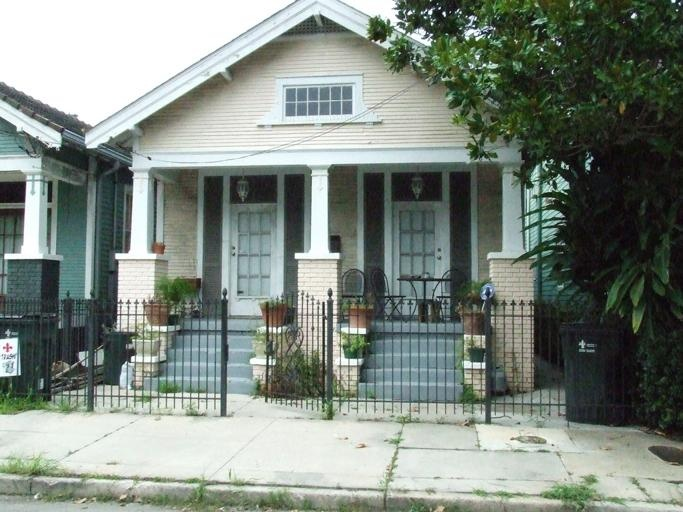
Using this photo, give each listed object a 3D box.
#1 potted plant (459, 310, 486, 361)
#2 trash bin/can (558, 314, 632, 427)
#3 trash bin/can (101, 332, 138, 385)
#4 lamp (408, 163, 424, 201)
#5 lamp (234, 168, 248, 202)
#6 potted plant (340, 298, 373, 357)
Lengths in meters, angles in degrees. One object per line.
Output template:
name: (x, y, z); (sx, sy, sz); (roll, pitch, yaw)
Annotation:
potted plant: (2.415, 1.395, 13.284); (0.398, 0.933, 0.632); (-3, -6, 8)
trash bin/can: (3.964, 1.894, 11.991); (1.255, 2.086, 1.308); (2, -6, -29)
trash bin/can: (-4.309, 1.932, 14.071); (0.579, 1.040, 0.965); (0, -7, -17)
lamp: (1.675, -1.647, 16.067); (0.334, 0.731, 0.628); (-2, -7, 6)
lamp: (-2.241, -1.647, 16.456); (0.307, 0.746, 0.718); (-1, -7, -8)
potted plant: (0.269, 1.383, 13.782); (0.698, 1.055, 0.522); (0, -7, -18)
